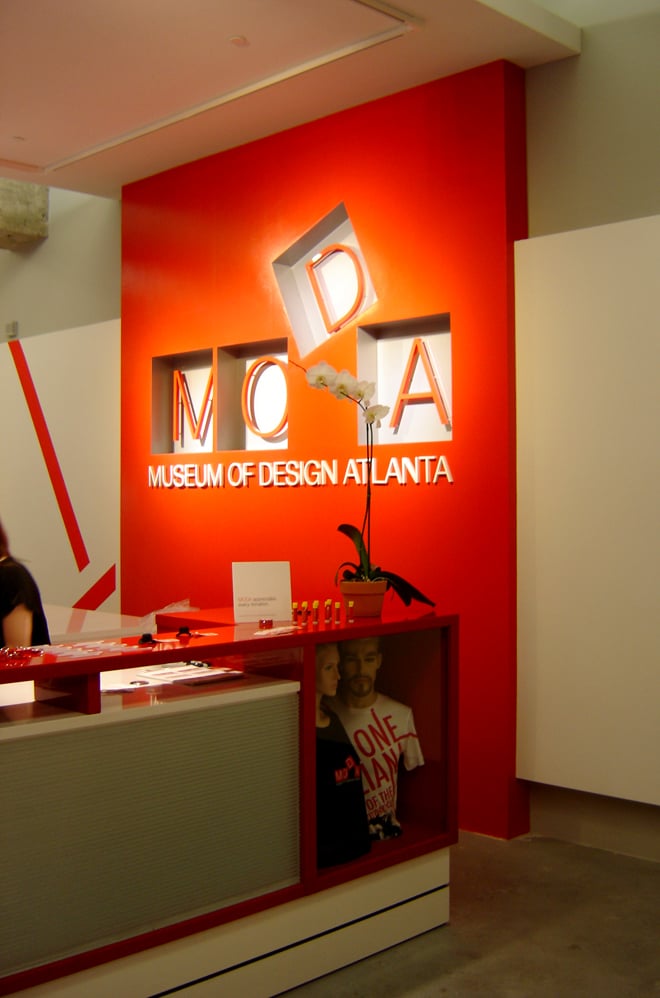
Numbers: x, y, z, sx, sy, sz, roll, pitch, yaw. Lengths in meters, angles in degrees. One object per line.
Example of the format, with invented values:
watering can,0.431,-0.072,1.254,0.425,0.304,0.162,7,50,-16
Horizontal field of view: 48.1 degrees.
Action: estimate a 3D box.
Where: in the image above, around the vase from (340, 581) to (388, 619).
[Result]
vase,0.117,0.330,2.372,0.147,0.125,0.116,4,-10,-19
